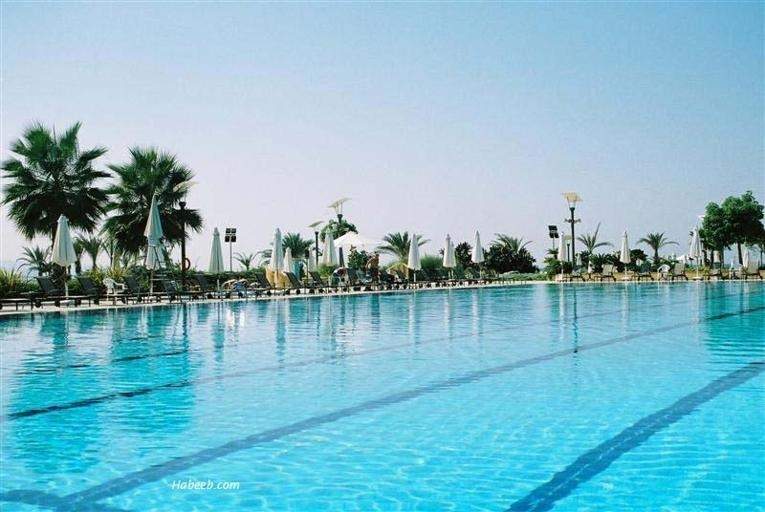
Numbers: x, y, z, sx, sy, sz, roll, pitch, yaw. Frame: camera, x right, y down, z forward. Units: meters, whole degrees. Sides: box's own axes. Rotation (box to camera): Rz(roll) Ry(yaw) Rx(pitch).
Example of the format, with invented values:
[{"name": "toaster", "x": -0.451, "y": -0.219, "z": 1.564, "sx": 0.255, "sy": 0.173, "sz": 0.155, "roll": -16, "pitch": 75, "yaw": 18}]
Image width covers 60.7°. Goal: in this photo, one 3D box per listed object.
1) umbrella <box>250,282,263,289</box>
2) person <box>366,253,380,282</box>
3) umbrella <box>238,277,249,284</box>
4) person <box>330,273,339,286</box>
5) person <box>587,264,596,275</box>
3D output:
[{"name": "umbrella", "x": -6.071, "y": 1.408, "z": 31.474, "sx": 0.428, "sy": 0.199, "sz": 0.563, "roll": 1, "pitch": 0, "yaw": 1}, {"name": "person", "x": -0.579, "y": 0.675, "z": 36.178, "sx": 0.639, "sy": 1.584, "sz": 2.105, "roll": -1, "pitch": -3, "yaw": -3}, {"name": "umbrella", "x": -6.781, "y": 1.211, "z": 31.768, "sx": 0.594, "sy": 0.253, "sz": 0.681, "roll": 0, "pitch": 3, "yaw": -13}, {"name": "person", "x": -2.562, "y": 1.248, "z": 34.942, "sx": 0.558, "sy": 0.726, "sz": 0.570, "roll": 2, "pitch": 5, "yaw": 12}, {"name": "person", "x": 14.407, "y": 0.787, "z": 45.818, "sx": 0.504, "sy": 0.786, "sz": 2.360, "roll": -2, "pitch": -3, "yaw": 17}]
